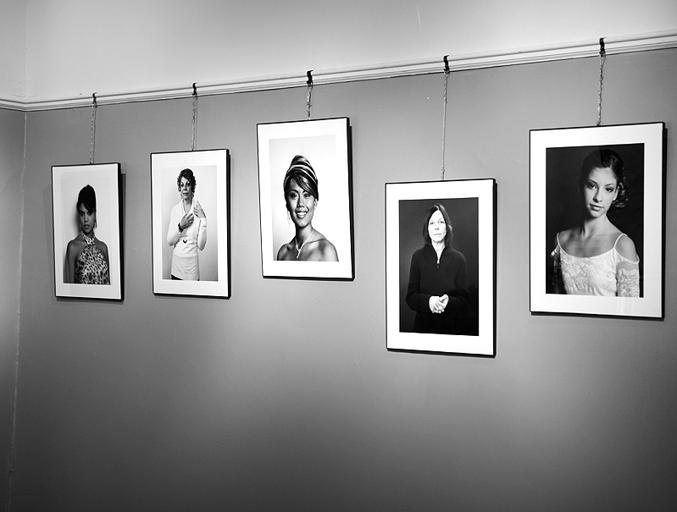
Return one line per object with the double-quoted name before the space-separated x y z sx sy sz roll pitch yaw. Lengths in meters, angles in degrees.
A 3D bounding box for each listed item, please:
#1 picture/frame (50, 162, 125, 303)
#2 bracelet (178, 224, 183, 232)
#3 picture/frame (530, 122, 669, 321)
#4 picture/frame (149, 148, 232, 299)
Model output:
"picture/frame" -1.205 -0.120 2.993 0.379 0.658 0.065 2 2 18
"bracelet" -0.727 -0.135 2.855 0.023 0.029 0.026 2 -1 -5
"picture/frame" 1.029 -0.145 2.400 0.630 1.080 0.035 1 2 22
"picture/frame" -0.683 -0.128 2.858 0.359 0.723 0.014 0 25 -13
